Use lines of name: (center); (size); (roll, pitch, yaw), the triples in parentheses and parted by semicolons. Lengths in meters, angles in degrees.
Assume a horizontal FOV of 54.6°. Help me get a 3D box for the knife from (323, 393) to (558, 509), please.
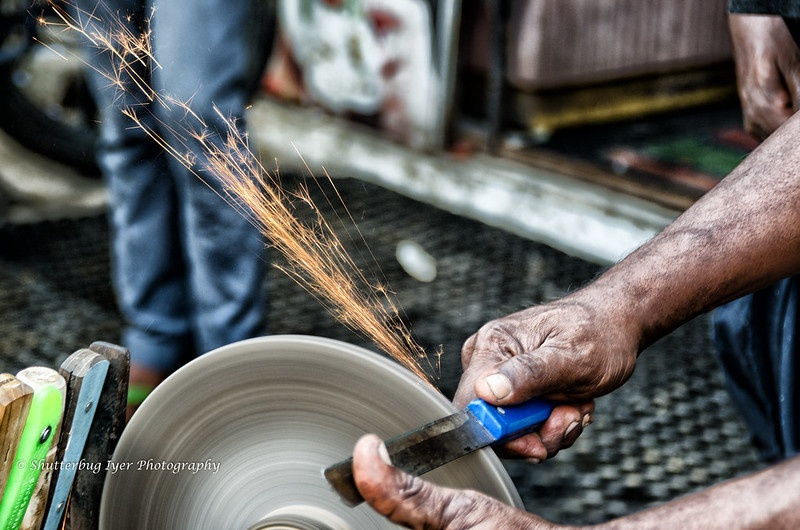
knife: (0.196, 0.424, 2.008); (0.487, 0.247, 0.105); (-29, 55, -14)
